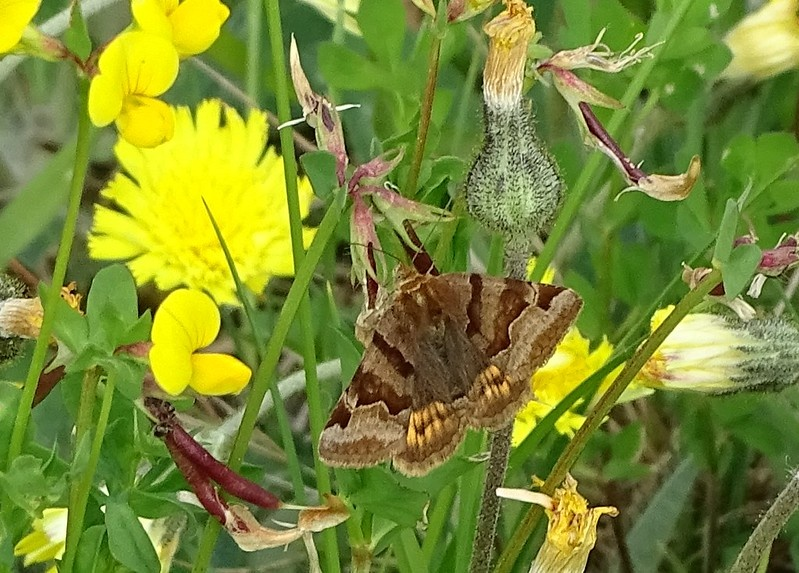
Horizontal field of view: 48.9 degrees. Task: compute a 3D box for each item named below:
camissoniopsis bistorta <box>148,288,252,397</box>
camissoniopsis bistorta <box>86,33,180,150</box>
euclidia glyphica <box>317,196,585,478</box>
[{"bbox_3d":[-0.145,0.043,0.603,0.044,0.041,0.101,-8,109,-31],"label":"camissoniopsis bistorta"},{"bbox_3d":[-0.193,-0.138,0.637,0.066,0.033,0.075,-34,113,-12],"label":"camissoniopsis bistorta"},{"bbox_3d":[0.037,0.060,0.616,0.173,0.033,0.147,5,76,7],"label":"euclidia glyphica"}]
